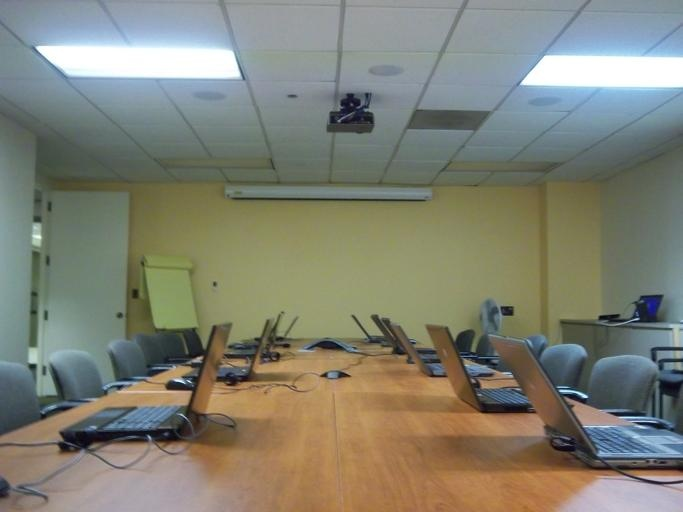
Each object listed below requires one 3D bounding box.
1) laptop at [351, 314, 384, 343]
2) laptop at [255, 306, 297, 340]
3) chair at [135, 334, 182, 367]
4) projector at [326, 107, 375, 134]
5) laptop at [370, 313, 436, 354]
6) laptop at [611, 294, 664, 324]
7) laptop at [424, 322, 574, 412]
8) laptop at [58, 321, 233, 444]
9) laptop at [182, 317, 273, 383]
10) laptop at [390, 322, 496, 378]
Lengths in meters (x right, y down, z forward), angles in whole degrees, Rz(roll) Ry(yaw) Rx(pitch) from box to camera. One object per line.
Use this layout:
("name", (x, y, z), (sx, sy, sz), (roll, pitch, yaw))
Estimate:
("laptop", (0.306, 0.876, 5.510), (0.507, 0.293, 0.322), (0, -3, 4))
("laptop", (-0.872, 0.866, 5.968), (0.438, 0.383, 0.573), (28, -11, 6))
("chair", (-1.703, 0.880, 4.254), (0.394, 0.395, 0.341), (-3, -7, 15))
("projector", (0.072, -1.205, 4.070), (0.360, 0.098, 0.241), (1, -1, 2))
("laptop", (0.533, 0.683, 4.204), (0.469, 0.174, 0.445), (3, -8, -8))
("laptop", (3.547, 0.629, 5.508), (0.462, 0.276, 0.429), (5, -9, -17))
("laptop", (0.665, 0.496, 2.138), (0.437, 0.232, 0.417), (2, -3, -7))
("laptop", (-0.739, 0.473, 1.799), (0.495, 0.262, 0.462), (1, -9, 2))
("laptop", (-0.656, 0.585, 2.739), (0.455, 0.263, 0.472), (2, -8, 4))
("laptop", (0.641, 0.686, 3.034), (0.537, 0.285, 0.510), (1, -3, -10))
